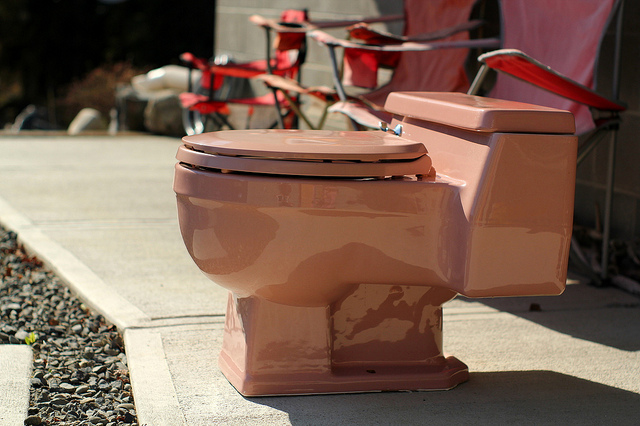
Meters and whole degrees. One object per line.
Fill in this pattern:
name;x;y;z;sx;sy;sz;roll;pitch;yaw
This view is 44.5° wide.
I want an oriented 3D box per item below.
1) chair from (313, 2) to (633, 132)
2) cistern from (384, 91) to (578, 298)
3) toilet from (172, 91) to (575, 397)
chair;0.686;-0.616;3.291;1.290;0.471;0.833;2;7;-22
cistern;0.466;-0.082;2.823;0.580;0.766;1.046;-1;7;-7
toilet;0.127;0.098;2.941;1.335;0.981;1.014;0;6;-9
